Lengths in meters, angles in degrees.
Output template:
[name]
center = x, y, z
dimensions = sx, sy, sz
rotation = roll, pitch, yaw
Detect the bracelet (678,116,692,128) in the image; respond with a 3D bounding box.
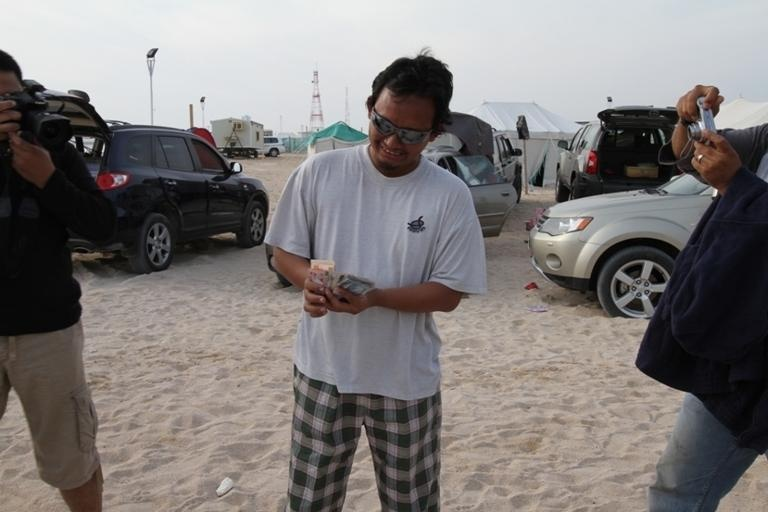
[bracelet]
center = 1.376, -0.612, 2.350
dimensions = 0.043, 0.017, 0.059
rotation = 22, 1, 9

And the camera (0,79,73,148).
[camera]
center = -1.649, -0.667, 2.432
dimensions = 0.243, 0.318, 0.384
rotation = -13, 20, -34

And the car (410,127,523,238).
[car]
center = 1.861, -1.419, 10.215
dimensions = 1.547, 1.438, 3.013
rotation = -1, 4, 33

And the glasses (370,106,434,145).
[glasses]
center = 0.074, -0.568, 2.270
dimensions = 0.264, 0.147, 0.093
rotation = -1, 17, -1

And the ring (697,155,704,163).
[ring]
center = 1.338, -0.413, 2.176
dimensions = 0.038, 0.036, 0.009
rotation = 3, 0, 11
